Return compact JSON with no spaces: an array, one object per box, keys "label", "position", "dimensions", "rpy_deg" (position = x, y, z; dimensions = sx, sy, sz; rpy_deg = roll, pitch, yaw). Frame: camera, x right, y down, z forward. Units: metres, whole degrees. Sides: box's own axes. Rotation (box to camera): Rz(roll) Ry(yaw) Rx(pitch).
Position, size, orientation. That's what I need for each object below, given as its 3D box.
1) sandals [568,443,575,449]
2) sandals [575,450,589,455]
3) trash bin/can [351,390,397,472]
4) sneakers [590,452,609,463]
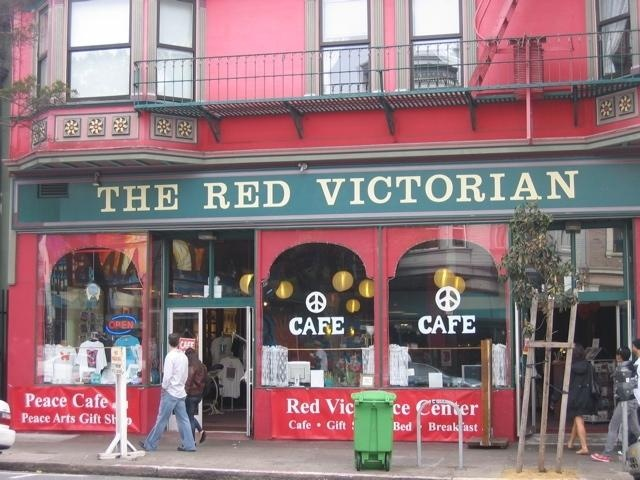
[{"label":"sandals","position":[5.035,4.130,24.111],"dimensions":[0.074,0.124,0.123],"rpy_deg":[3,-11,-7]},{"label":"sandals","position":[5.118,4.152,23.538],"dimensions":[0.195,0.075,0.110],"rpy_deg":[1,1,24]},{"label":"trash bin/can","position":[1.022,3.565,22.479],"dimensions":[0.788,1.453,0.344],"rpy_deg":[-1,-5,1]},{"label":"sneakers","position":[5.355,4.138,22.949],"dimensions":[0.318,0.139,0.148],"rpy_deg":[6,-4,9]}]
